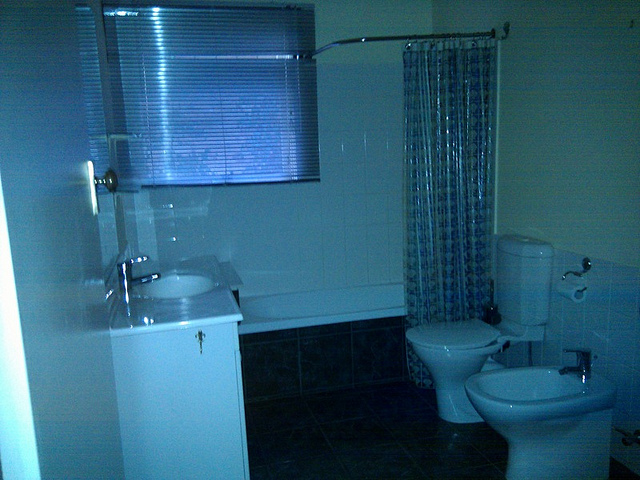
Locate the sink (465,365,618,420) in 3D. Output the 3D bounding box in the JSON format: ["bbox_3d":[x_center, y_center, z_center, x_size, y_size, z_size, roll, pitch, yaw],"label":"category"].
[{"bbox_3d":[1.068,0.759,2.918,0.517,0.126,0.317,-3,4,-10],"label":"sink"}]

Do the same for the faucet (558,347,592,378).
[{"bbox_3d":[1.301,0.609,2.962,0.120,0.169,0.180,0,10,4],"label":"faucet"}]

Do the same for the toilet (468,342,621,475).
[{"bbox_3d":[1.123,0.896,3.153,0.796,0.688,0.587,-2,6,-2],"label":"toilet"}]

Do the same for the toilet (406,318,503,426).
[{"bbox_3d":[0.780,0.794,3.668,0.634,0.545,0.513,-1,6,-8],"label":"toilet"}]
